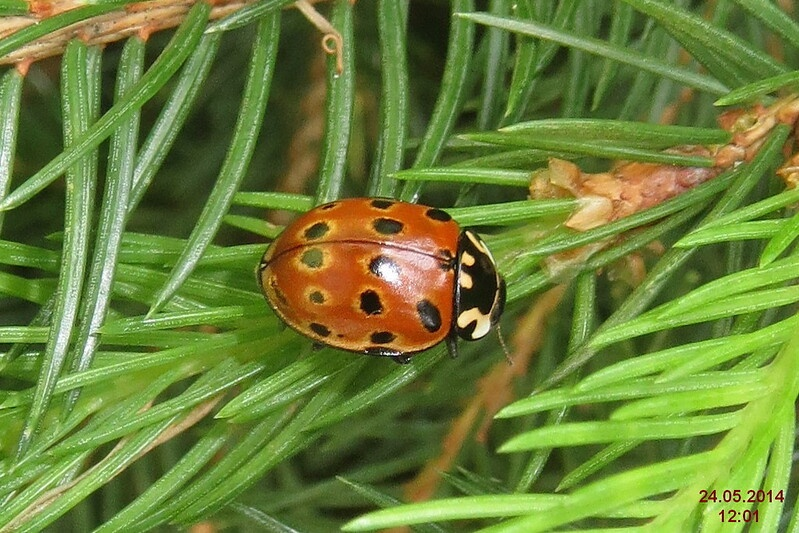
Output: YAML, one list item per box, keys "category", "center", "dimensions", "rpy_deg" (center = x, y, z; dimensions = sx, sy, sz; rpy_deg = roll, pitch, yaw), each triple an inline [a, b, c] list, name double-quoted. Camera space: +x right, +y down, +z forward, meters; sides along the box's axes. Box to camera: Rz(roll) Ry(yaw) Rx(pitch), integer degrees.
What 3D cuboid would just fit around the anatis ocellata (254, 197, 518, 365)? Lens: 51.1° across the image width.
- category: "anatis ocellata"
  center: [-0.021, 0.019, 1.442]
  dimensions: [0.445, 0.231, 0.153]
  rpy_deg: [7, -16, -20]
